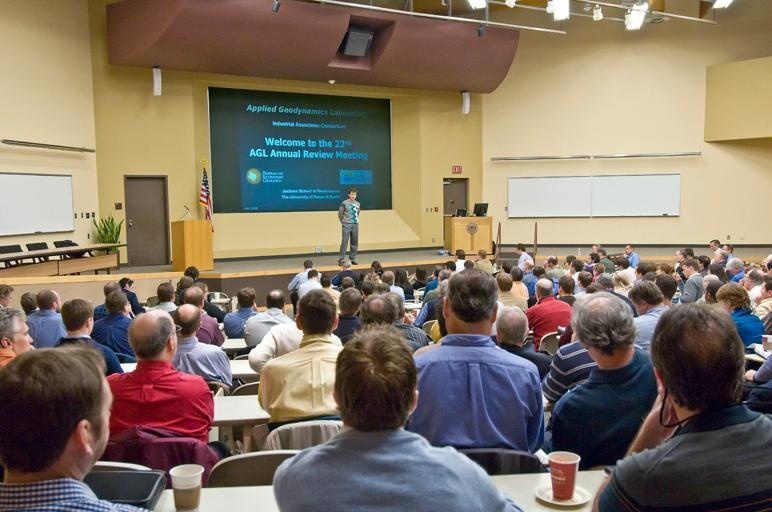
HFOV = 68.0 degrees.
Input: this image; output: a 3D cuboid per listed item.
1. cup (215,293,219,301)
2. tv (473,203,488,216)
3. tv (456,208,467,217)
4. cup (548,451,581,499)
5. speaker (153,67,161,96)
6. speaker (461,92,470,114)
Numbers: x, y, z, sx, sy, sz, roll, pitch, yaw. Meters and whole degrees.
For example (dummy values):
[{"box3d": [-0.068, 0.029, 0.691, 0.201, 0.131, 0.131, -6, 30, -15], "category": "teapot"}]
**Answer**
[{"box3d": [-2.799, 0.655, 9.298, 0.052, 0.075, 0.075, -1, 0, 20], "category": "cup"}, {"box3d": [2.417, -1.196, 14.739, 0.395, 0.316, 0.198, -2, -4, 13], "category": "tv"}, {"box3d": [1.924, -1.119, 14.708, 0.304, 0.155, 0.276, -1, 4, -6], "category": "tv"}, {"box3d": [0.767, 0.930, 2.468, 0.114, 0.188, 0.174, 1, 4, 18], "category": "cup"}, {"box3d": [-5.052, -3.785, 12.435, 0.195, 0.559, 0.325, -2, 4, -22], "category": "speaker"}, {"box3d": [2.225, -4.290, 16.033, 0.257, 0.584, 0.623, 0, 4, 8], "category": "speaker"}]
